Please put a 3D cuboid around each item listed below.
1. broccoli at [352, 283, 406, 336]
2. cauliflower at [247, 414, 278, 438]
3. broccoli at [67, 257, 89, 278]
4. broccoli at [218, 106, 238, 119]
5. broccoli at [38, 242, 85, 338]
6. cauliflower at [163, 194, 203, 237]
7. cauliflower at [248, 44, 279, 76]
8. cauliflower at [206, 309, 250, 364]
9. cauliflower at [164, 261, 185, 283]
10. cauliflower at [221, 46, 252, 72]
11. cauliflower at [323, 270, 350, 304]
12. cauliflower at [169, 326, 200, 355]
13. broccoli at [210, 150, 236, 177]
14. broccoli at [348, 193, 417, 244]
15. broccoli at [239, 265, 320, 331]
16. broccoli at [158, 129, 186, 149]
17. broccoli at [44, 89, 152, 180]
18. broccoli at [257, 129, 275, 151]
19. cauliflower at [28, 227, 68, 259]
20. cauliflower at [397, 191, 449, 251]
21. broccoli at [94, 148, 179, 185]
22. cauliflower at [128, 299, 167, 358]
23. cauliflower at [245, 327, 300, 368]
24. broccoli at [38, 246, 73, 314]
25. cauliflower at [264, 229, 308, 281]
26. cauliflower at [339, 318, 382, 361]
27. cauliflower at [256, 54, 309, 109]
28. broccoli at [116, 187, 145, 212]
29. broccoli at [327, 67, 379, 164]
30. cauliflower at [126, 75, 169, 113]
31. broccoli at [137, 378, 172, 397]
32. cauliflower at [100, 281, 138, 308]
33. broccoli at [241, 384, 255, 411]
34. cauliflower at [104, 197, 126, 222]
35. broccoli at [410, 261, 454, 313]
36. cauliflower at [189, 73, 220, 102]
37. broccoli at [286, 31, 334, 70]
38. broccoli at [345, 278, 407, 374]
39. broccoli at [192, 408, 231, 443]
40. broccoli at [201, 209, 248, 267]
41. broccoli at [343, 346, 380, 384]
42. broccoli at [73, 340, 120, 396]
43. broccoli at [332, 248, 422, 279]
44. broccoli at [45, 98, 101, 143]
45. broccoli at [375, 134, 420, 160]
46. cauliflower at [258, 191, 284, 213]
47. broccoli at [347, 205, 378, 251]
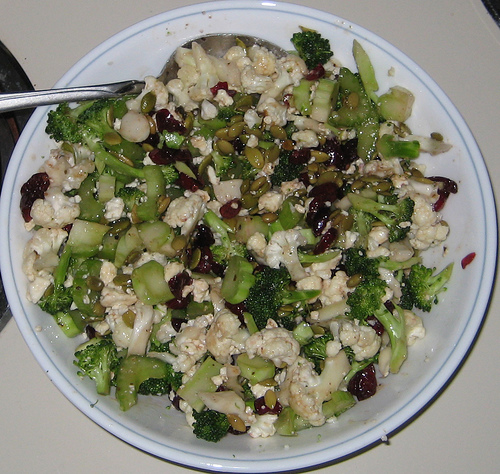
[{"bbox_3d":[0.687,0.396,3.120,0.339,0.191,0.207,36,91,1],"label":"broccoli"},{"bbox_3d":[0.069,1.004,2.958,0.149,0.051,0.119,-1,74,-2],"label":"cauliflower"},{"bbox_3d":[-0.980,0.170,3.144,0.031,0.111,0.092,-11,45,-48],"label":"broccoli"},{"bbox_3d":[-0.125,-0.708,3.170,0.085,0.044,0.069,-22,48,-9],"label":"broccoli"},{"bbox_3d":[-1.041,0.314,3.095,0.129,0.488,0.435,-6,53,-31],"label":"broccoli"},{"bbox_3d":[-0.341,-0.131,3.166,0.197,0.235,0.205,2,114,13],"label":"cauliflower"},{"bbox_3d":[0.057,-0.991,3.122,0.187,0.054,0.164,21,78,-13],"label":"cauliflower"},{"bbox_3d":[-0.111,0.539,3.019,0.232,0.130,0.234,22,75,5],"label":"cauliflower"},{"bbox_3d":[-0.419,0.192,3.069,0.108,0.049,0.114,-4,74,-3],"label":"cauliflower"},{"bbox_3d":[-0.057,-1.025,3.168,0.152,0.045,0.147,37,111,4],"label":"cauliflower"},{"bbox_3d":[0.511,0.260,3.159,0.157,0.201,0.060,35,78,26],"label":"cauliflower"},{"bbox_3d":[-0.359,0.576,3.085,0.197,0.143,0.106,-41,80,-12],"label":"cauliflower"},{"bbox_3d":[-0.154,-0.420,3.189,0.123,0.066,0.146,-35,93,3],"label":"broccoli"},{"bbox_3d":[0.753,-0.109,3.047,0.374,0.151,0.235,20,108,11],"label":"broccoli"},{"bbox_3d":[0.140,0.306,3.097,0.408,0.144,0.287,-34,78,-11],"label":"broccoli"},{"bbox_3d":[-0.445,-0.555,3.158,0.156,0.064,0.098,3,74,-1],"label":"broccoli"},{"bbox_3d":[-0.831,-0.603,3.175,0.542,0.189,0.508,-34,105,7],"label":"broccoli"},{"bbox_3d":[0.111,-0.552,3.162,0.122,0.035,0.101,-3,97,-11],"label":"broccoli"},{"bbox_3d":[-1.104,0.029,3.033,0.181,0.053,0.155,11,84,-25],"label":"cauliflower"},{"bbox_3d":[1.009,-0.078,3.152,0.200,0.176,0.287,1,74,-2],"label":"cauliflower"},{"bbox_3d":[-0.689,-0.399,3.250,0.568,0.138,0.169,13,47,-5],"label":"broccoli"},{"bbox_3d":[-0.570,0.501,3.095,0.207,0.109,0.303,-1,73,-2],"label":"cauliflower"},{"bbox_3d":[0.123,0.589,2.976,0.291,0.178,0.207,0,75,-2],"label":"cauliflower"},{"bbox_3d":[-1.061,0.213,3.061,0.180,0.174,0.359,9,92,40],"label":"broccoli"},{"bbox_3d":[0.201,0.099,3.116,0.204,0.230,0.247,1,109,4],"label":"cauliflower"},{"bbox_3d":[0.591,0.554,3.027,0.255,0.092,0.204,39,81,0],"label":"cauliflower"},{"bbox_3d":[0.154,-0.903,3.215,0.379,0.148,0.193,-41,104,2],"label":"cauliflower"},{"bbox_3d":[-0.674,-0.217,3.227,0.150,0.146,0.131,-7,91,-48],"label":"broccoli"},{"bbox_3d":[0.618,-0.694,3.196,0.203,0.266,0.537,-16,117,-27],"label":"broccoli"},{"bbox_3d":[-0.573,-0.780,3.135,0.254,0.174,0.183,-27,77,-9],"label":"cauliflower"},{"bbox_3d":[-0.526,0.826,3.050,0.148,0.045,0.098,-16,62,-18],"label":"broccoli"},{"bbox_3d":[-0.742,0.345,3.090,0.193,0.078,0.145,27,75,6],"label":"cauliflower"},{"bbox_3d":[0.002,0.871,3.032,0.032,0.113,0.094,0,73,-39],"label":"broccoli"},{"bbox_3d":[-0.756,-0.155,3.059,0.140,0.050,0.116,5,95,-4],"label":"cauliflower"},{"bbox_3d":[0.988,0.266,3.093,0.190,0.181,0.281,18,74,3],"label":"broccoli"},{"bbox_3d":[-0.259,-0.852,3.152,0.133,0.083,0.157,28,96,-11],"label":"cauliflower"},{"bbox_3d":[0.351,-1.069,3.134,0.165,0.167,0.207,-38,79,-11],"label":"broccoli"},{"bbox_3d":[0.730,0.480,3.025,0.272,0.138,0.534,-20,75,-7],"label":"broccoli"},{"bbox_3d":[-0.207,0.988,2.915,0.211,0.080,0.152,7,74,0],"label":"broccoli"},{"bbox_3d":[-0.186,0.001,3.209,0.201,0.095,0.344,-33,77,-10],"label":"broccoli"},{"bbox_3d":[0.616,0.710,3.094,0.220,0.060,0.190,-19,83,-6],"label":"broccoli"},{"bbox_3d":[-0.826,0.697,2.987,0.270,0.131,0.298,10,49,-28],"label":"broccoli"},{"bbox_3d":[0.740,0.184,3.135,0.378,0.212,0.126,6,84,3],"label":"broccoli"},{"bbox_3d":[-0.953,-0.657,3.135,0.256,0.302,0.217,-7,111,-10],"label":"broccoli"},{"bbox_3d":[0.820,-0.494,3.096,0.057,0.212,0.112,-8,98,-49],"label":"broccoli"},{"bbox_3d":[0.130,-0.208,3.176,0.120,0.074,0.114,43,77,10],"label":"cauliflower"},{"bbox_3d":[0.652,-0.066,3.195,0.246,0.069,0.205,9,90,5],"label":"broccoli"}]
